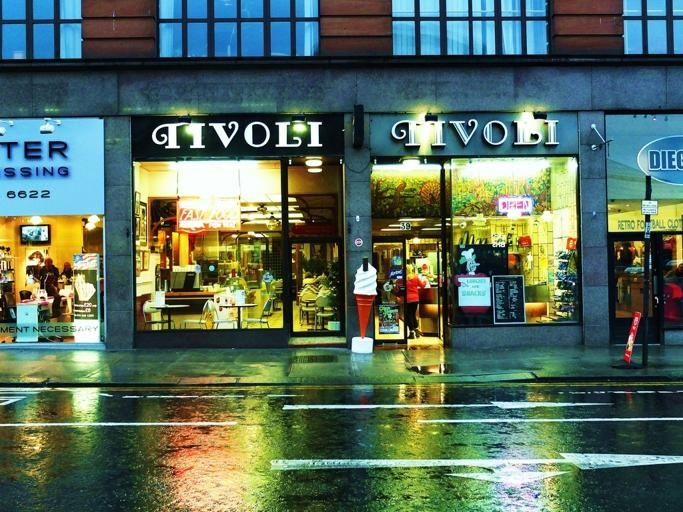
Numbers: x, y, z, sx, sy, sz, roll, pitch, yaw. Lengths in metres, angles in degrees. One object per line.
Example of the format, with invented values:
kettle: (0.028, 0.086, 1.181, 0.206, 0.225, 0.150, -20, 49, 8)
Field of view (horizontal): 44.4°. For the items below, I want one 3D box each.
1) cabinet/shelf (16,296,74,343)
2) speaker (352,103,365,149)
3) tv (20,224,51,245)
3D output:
cabinet/shelf: (-8.194, 1.791, 22.819, 1.538, 1.093, 0.347, 0, 8, 3)
speaker: (0.436, -3.404, 22.152, 0.339, 1.172, 0.427, 0, 8, -1)
tv: (-8.364, -0.600, 22.708, 0.612, 0.405, 0.077, 0, 12, -3)
